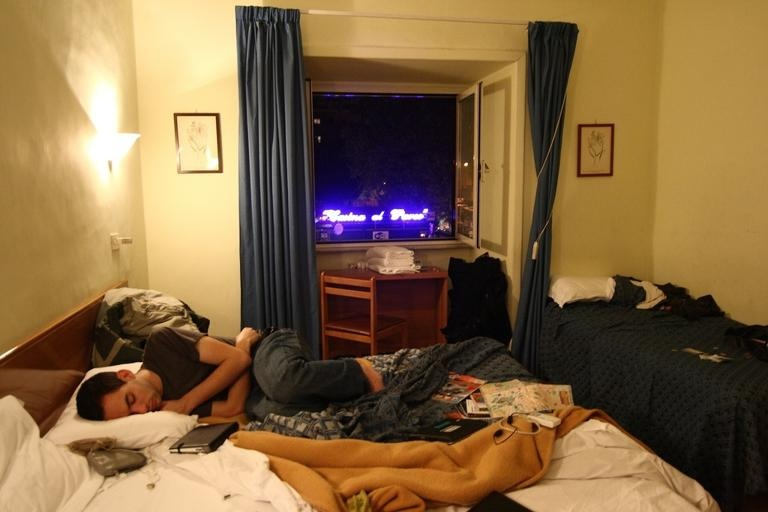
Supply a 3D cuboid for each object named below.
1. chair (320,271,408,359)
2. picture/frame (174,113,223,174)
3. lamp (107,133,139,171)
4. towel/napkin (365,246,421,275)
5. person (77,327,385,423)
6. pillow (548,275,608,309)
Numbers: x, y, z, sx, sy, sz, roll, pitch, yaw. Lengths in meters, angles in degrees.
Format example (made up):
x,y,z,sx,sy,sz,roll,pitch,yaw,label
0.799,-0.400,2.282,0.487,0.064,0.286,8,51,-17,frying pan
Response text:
x,y,z,sx,sy,sz,roll,pitch,yaw,label
-0.215,0.538,5.169,0.566,1.046,0.634,9,19,33,chair
-1.587,-0.975,4.759,0.509,0.604,0.028,-2,10,-11,picture/frame
-1.931,-0.771,4.229,0.266,0.212,0.273,0,6,-5,lamp
0.087,0.023,5.260,0.500,0.222,0.411,-2,9,-2,towel/napkin
-0.872,0.776,3.596,1.793,0.598,0.622,8,43,-19,person
1.696,0.319,4.788,0.320,0.083,0.308,-2,24,7,pillow
